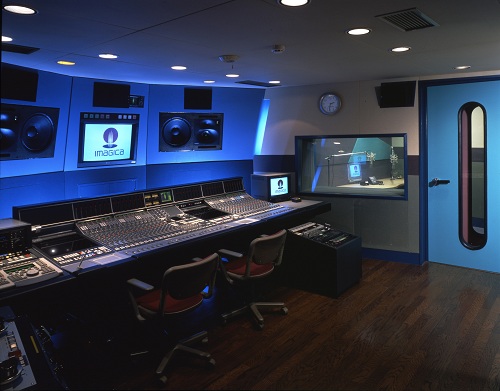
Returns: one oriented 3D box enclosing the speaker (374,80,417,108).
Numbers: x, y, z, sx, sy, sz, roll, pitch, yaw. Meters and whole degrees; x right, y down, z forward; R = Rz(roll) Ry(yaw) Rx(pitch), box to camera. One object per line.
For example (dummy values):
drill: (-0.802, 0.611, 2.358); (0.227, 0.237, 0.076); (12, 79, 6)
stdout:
speaker: (1.933, -1.340, 4.426); (0.515, 0.340, 0.120); (3, 10, 23)

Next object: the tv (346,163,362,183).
tv: (1.527, -0.338, 4.922); (0.312, 0.400, 0.042); (1, 3, 23)

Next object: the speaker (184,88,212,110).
speaker: (-0.723, -1.316, 4.586); (0.374, 0.312, 0.087); (-5, 14, -25)

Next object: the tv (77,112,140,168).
tv: (-1.739, -0.688, 4.054); (0.056, 0.590, 0.745); (16, 13, 37)

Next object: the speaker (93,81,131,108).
speaker: (-1.641, -1.187, 3.969); (0.091, 0.287, 0.455); (17, 15, 41)

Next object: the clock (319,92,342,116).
clock: (1.134, -1.310, 4.819); (0.306, 0.290, 0.061); (7, 10, 33)

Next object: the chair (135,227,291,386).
chair: (-0.359, 0.837, 2.939); (1.370, 0.943, 0.680); (-8, 9, -43)
